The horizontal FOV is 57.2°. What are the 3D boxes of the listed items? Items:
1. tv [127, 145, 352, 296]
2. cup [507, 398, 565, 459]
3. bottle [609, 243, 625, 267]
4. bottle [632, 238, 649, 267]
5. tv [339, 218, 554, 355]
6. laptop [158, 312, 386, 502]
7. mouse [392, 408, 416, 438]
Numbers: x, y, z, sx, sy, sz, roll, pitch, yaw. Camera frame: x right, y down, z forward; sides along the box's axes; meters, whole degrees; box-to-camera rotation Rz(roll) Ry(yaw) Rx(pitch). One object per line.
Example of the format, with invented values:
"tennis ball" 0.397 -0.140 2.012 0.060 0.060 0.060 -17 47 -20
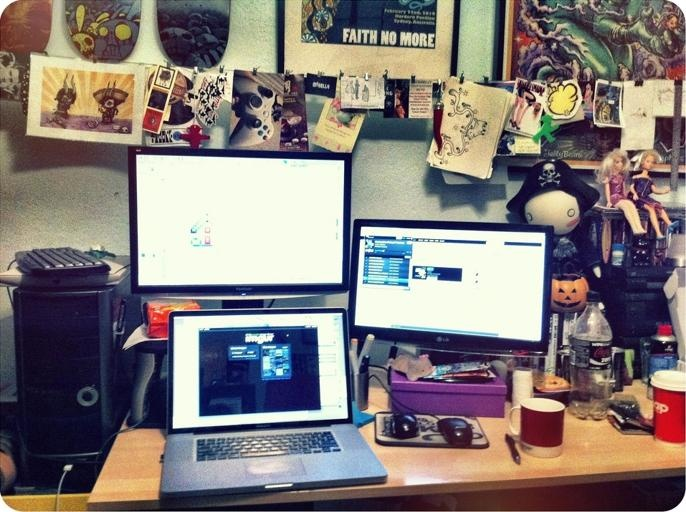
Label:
"tv" -0.307 -0.100 1.768 0.442 0.300 0.043 1 6 -5
"cup" 0.498 0.444 1.624 0.141 0.119 0.106 1 3 11
"bottle" 0.859 -0.001 1.966 0.040 0.066 0.029 2 11 22
"bottle" 0.939 -0.014 1.995 0.071 0.085 0.038 -6 11 -23
"tv" 0.297 0.084 1.800 0.405 0.270 0.105 1 3 6
"laptop" -0.167 0.333 1.529 0.574 0.285 0.537 -3 9 -33
"mouse" 0.167 0.455 1.674 0.051 0.044 0.045 0 -2 4
